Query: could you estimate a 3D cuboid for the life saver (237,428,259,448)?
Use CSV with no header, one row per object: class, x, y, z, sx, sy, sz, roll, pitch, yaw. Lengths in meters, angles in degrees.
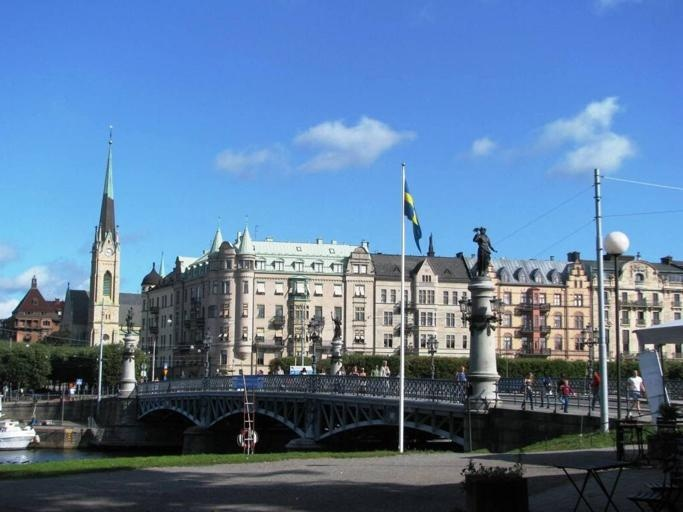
life saver,-5.386,10.396,57.017,1.268,1.792,0.673,1,25,2
